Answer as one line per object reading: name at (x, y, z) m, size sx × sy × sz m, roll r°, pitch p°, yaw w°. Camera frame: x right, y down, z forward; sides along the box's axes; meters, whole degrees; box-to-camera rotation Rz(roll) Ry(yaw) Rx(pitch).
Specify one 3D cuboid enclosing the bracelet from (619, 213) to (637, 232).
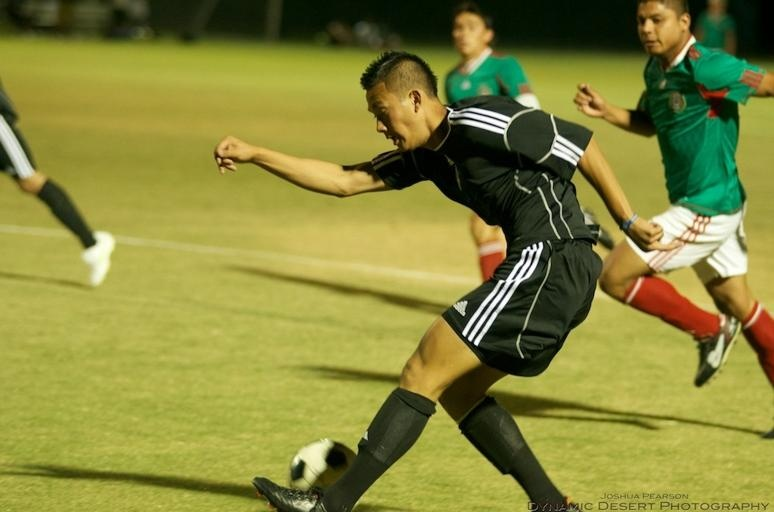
bracelet at (1.402, -0.201, 6.045) m, size 0.038 × 0.106 × 0.081 m, roll 46°, pitch 11°, yaw -1°

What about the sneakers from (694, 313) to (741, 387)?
sneakers at (2.263, 0.662, 7.315) m, size 0.284 × 0.550 × 0.202 m, roll 17°, pitch 16°, yaw 2°
